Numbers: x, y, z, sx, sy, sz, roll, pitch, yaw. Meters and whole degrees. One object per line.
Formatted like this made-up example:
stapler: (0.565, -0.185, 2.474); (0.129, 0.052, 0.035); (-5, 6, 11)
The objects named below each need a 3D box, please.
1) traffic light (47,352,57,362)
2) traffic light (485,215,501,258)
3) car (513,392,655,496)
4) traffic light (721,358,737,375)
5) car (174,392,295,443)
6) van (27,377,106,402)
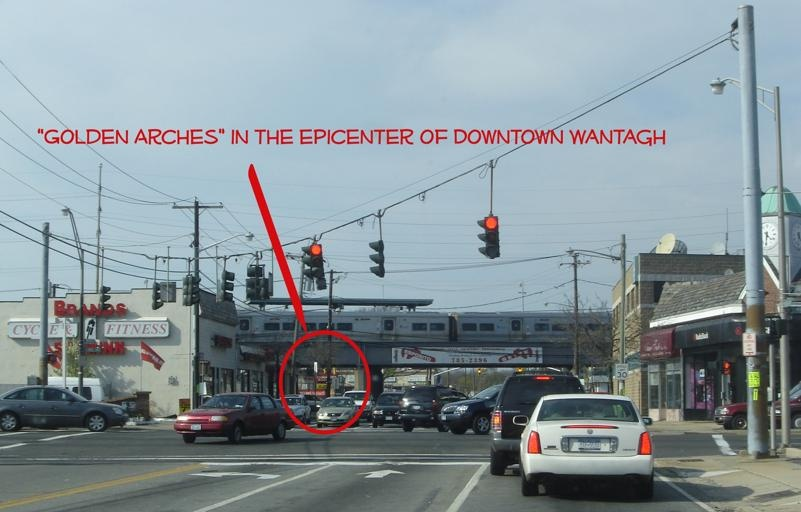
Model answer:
traffic light: (-22.407, 6.512, 90.672); (0.452, 0.674, 1.144); (-1, -12, -10)
traffic light: (3.741, -0.856, 57.546); (0.524, 1.838, 1.322); (-4, -11, 3)
car: (6.859, 6.541, 49.977); (3.407, 2.843, 8.195); (-2, -6, 14)
traffic light: (17.475, 5.941, 74.750); (0.911, 0.824, 1.555); (-1, -4, 14)
car: (-7.387, 7.246, 62.666); (1.773, 2.244, 5.009); (-14, -16, 43)
van: (-18.116, 7.364, 78.697); (2.992, 1.525, 1.793); (-2, -3, 7)
